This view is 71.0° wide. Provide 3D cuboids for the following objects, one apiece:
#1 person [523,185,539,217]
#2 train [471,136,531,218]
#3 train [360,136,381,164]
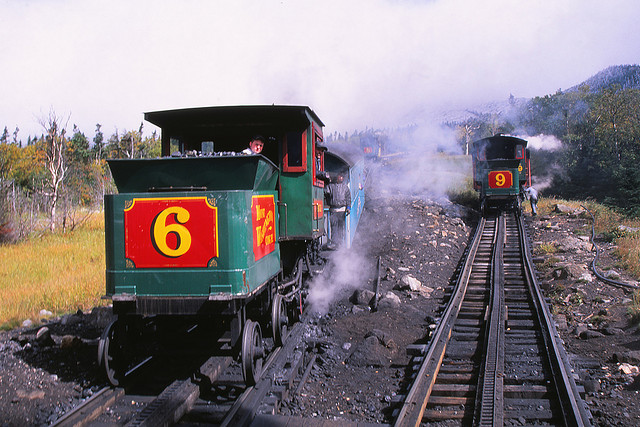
[{"bbox_3d":[11.618,-0.664,24.586,0.388,1.512,1.638,-1,4,24],"label":"person"},{"bbox_3d":[9.985,-2.184,24.839,2.759,4.350,3.834,-1,4,23],"label":"train"},{"bbox_3d":[9.208,-12.215,84.989,4.212,1.672,1.016,17,36,22],"label":"train"}]
